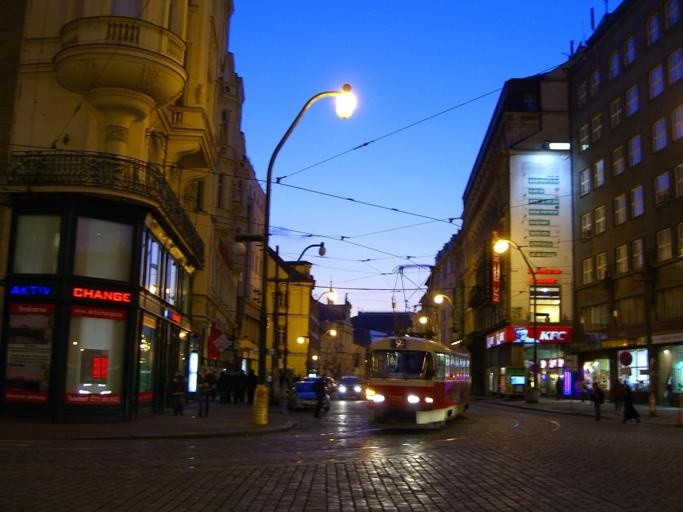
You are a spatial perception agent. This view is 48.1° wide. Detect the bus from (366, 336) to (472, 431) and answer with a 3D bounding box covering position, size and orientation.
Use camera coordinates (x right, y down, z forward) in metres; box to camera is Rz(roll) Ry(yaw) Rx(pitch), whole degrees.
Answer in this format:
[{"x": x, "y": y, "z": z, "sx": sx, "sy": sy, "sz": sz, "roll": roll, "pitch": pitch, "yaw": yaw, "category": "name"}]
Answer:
[{"x": 3.150, "y": 4.870, "z": 29.170, "sx": 1.847, "sy": 2.000, "sz": 6.224, "roll": -3, "pitch": -12, "yaw": 20, "category": "bus"}]
